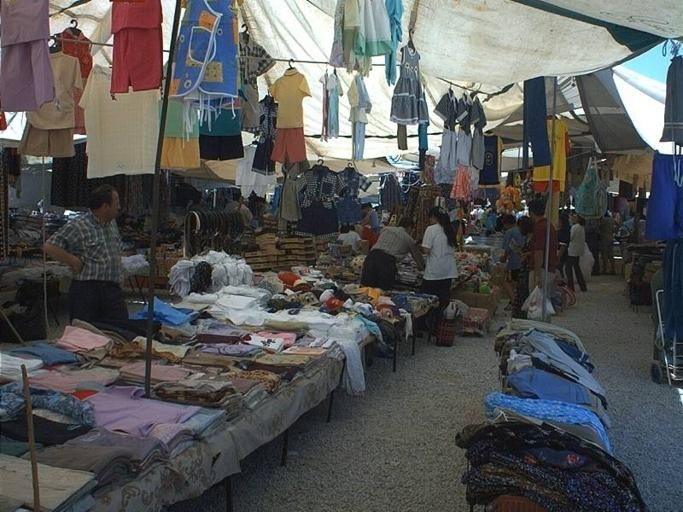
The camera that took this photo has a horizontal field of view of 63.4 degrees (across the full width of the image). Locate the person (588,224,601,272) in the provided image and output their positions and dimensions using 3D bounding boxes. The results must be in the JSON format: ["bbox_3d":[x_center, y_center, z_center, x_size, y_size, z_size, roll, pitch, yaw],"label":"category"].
[{"bbox_3d":[6.260,-0.248,13.833,0.249,1.225,1.028,3,8,29],"label":"person"}]

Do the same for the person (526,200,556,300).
[{"bbox_3d":[3.340,0.280,9.312,0.586,2.238,0.608,-2,32,19],"label":"person"}]

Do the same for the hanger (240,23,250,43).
[{"bbox_3d":[-1.199,-2.742,6.863,0.114,0.302,0.358,-2,7,-10],"label":"hanger"}]

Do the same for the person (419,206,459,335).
[{"bbox_3d":[1.412,0.164,8.021,0.504,1.693,0.457,1,7,9],"label":"person"}]

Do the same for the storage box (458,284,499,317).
[{"bbox_3d":[2.412,0.807,9.670,0.575,0.496,0.909,4,9,32],"label":"storage box"}]

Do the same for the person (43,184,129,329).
[{"bbox_3d":[-2.396,0.002,5.229,0.616,1.283,0.225,-4,8,-29],"label":"person"}]
